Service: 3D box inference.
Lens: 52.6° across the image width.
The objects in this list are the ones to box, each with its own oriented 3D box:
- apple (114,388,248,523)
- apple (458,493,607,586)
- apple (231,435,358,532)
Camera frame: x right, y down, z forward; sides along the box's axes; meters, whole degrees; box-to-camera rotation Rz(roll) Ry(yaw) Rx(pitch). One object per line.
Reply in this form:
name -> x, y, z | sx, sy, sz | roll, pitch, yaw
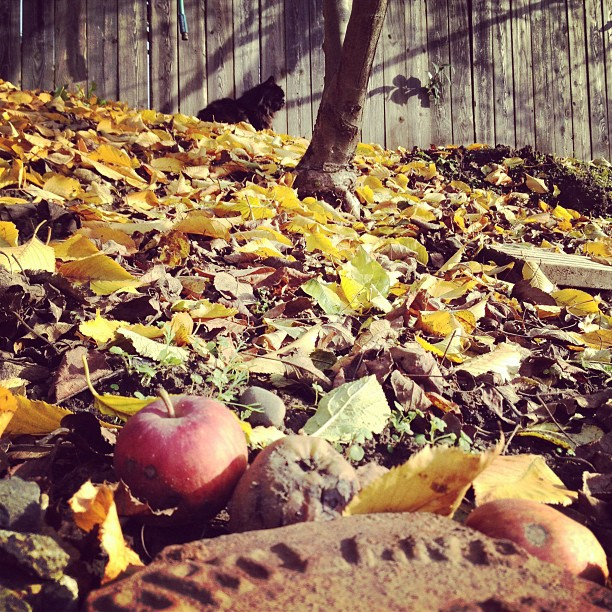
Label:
apple -> -0.230, 0.261, 1.139 | 0.235, 0.223, 0.231 | -5, 23, 12
apple -> 0.374, 0.355, 1.041 | 0.146, 0.087, 0.170 | 13, 0, -7
apple -> -0.018, 0.318, 1.077 | 0.219, 0.156, 0.105 | 5, 6, -4
